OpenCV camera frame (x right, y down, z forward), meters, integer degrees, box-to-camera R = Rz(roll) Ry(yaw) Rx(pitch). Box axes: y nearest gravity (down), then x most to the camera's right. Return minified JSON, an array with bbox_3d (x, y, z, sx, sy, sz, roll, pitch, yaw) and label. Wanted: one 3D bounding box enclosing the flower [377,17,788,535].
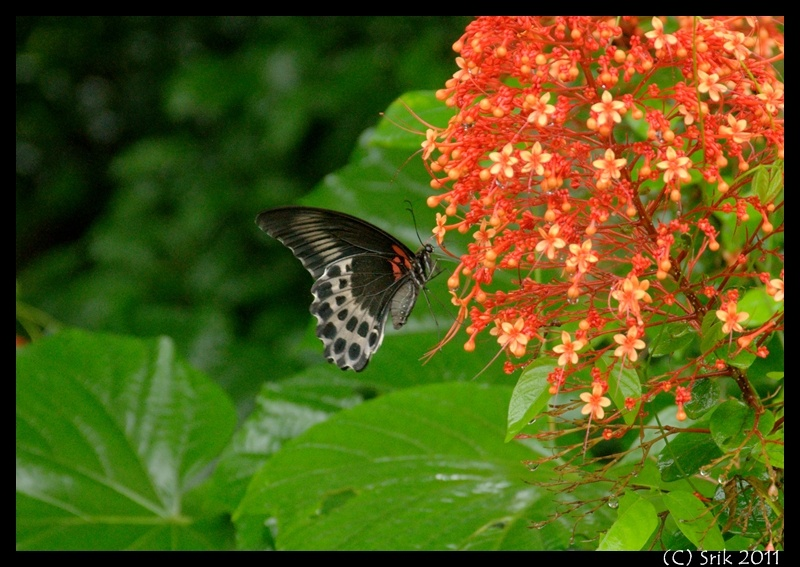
[{"bbox_3d":[0.684,-0.063,2.625,1.103,1.610,0.960,-7,16,8],"label":"flower"}]
